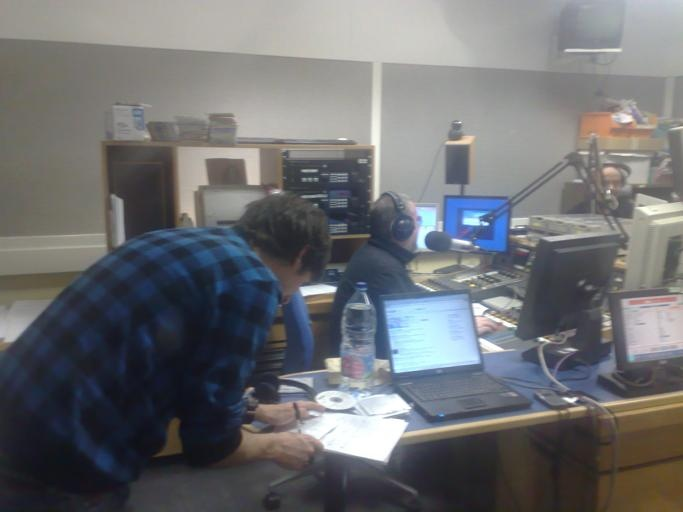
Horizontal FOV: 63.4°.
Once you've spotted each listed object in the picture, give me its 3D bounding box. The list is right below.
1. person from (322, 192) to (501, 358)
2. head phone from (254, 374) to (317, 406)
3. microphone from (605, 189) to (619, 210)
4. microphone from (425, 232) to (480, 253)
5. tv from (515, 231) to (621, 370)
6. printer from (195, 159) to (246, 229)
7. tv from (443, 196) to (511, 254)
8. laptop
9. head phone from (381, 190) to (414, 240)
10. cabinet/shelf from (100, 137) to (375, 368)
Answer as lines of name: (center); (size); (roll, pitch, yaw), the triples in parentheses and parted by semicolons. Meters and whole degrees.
person: (0.390, 0.183, 2.582); (0.740, 0.946, 0.717); (-1, 4, -38)
head phone: (-0.204, 0.466, 1.951); (0.153, 0.064, 0.107); (6, -3, -5)
microphone: (1.094, -0.229, 2.239); (0.046, 0.085, 0.165); (4, 15, 25)
microphone: (0.491, -0.054, 2.527); (0.200, 0.116, 0.179); (-3, 13, -5)
tv: (0.898, 0.195, 2.152); (0.486, 0.545, 0.268); (-6, 16, -22)
printer: (-0.678, -0.364, 3.203); (0.399, 0.359, 0.104); (2, -3, -15)
tv: (0.833, -0.185, 3.412); (0.446, 0.347, 0.050); (4, 4, 44)
laptop: (0.382, 0.353, 1.996); (0.416, 0.318, 0.458); (-3, 10, -22)
head phone: (0.295, -0.198, 2.639); (0.114, 0.249, 0.282); (-2, 1, 6)
cabinet/shelf: (-0.582, 0.008, 3.349); (1.529, 1.403, 0.520); (-3, 10, -18)
